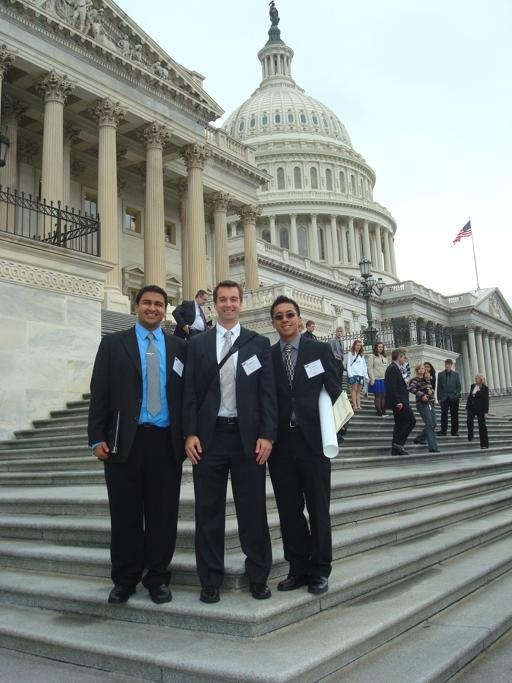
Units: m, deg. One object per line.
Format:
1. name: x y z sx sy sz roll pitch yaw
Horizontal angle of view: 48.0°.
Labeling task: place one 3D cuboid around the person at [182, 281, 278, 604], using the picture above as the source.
1. person: -0.159 0.551 3.645 0.604 1.927 0.707 -1 -3 -7

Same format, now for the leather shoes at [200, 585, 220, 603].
1. leather shoes: -0.266 1.455 3.269 0.107 0.069 0.134 -1 -3 -9

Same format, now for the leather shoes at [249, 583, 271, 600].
1. leather shoes: 0.034 1.472 3.349 0.052 0.054 0.139 2 -17 -15

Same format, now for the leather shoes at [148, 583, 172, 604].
1. leather shoes: -0.564 1.508 3.388 0.064 0.065 0.169 4 -18 -17

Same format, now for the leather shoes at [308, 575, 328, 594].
1. leather shoes: 0.379 1.486 3.451 0.130 0.094 0.129 -1 -3 0

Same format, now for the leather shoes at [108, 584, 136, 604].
1. leather shoes: -0.825 1.540 3.498 0.125 0.089 0.215 -1 -3 1

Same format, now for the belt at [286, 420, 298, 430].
1. belt: 0.243 0.553 3.782 0.070 0.058 0.012 -3 -3 30

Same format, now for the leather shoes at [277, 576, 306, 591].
1. leather shoes: 0.228 1.519 3.588 0.070 0.085 0.191 -13 -24 40

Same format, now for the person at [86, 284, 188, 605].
1. person: -0.783 0.601 3.765 0.634 1.981 0.691 -1 -3 -7
